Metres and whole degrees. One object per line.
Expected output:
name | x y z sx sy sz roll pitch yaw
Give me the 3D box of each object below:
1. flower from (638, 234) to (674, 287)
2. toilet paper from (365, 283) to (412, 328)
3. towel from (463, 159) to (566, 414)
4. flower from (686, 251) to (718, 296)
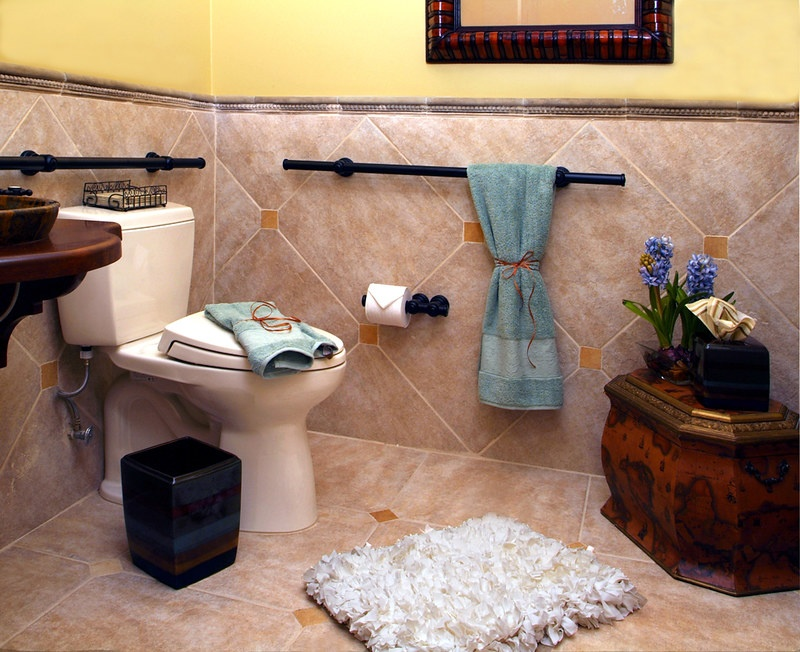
flower | 0.725 -0.184 1.970 0.088 0.151 0.092 0 3 8
toilet paper | -0.040 -0.061 2.338 0.137 0.164 0.138 5 17 18
towel | 0.360 -0.124 2.183 0.305 0.742 0.191 1 16 5
flower | 0.832 -0.136 1.929 0.071 0.120 0.073 9 -5 0
